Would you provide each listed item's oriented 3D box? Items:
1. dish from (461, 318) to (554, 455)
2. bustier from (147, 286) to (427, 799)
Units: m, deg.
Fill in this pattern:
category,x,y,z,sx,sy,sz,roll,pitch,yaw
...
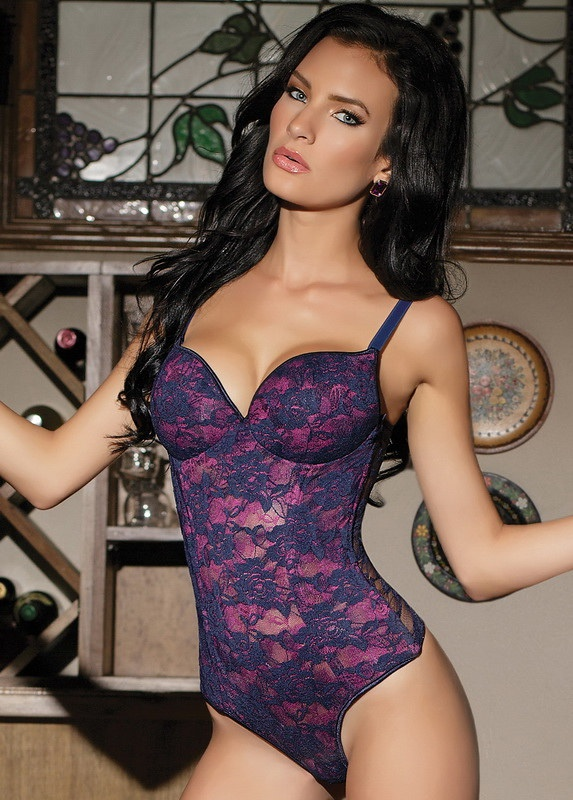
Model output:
category,x,y,z,sx,sy,sz,roll,pitch,yaw
dish,0.746,-0.017,2.744,0.073,0.394,0.372,7,56,-22
bustier,0.002,0.234,1.309,0.405,0.594,0.448,-3,27,2
